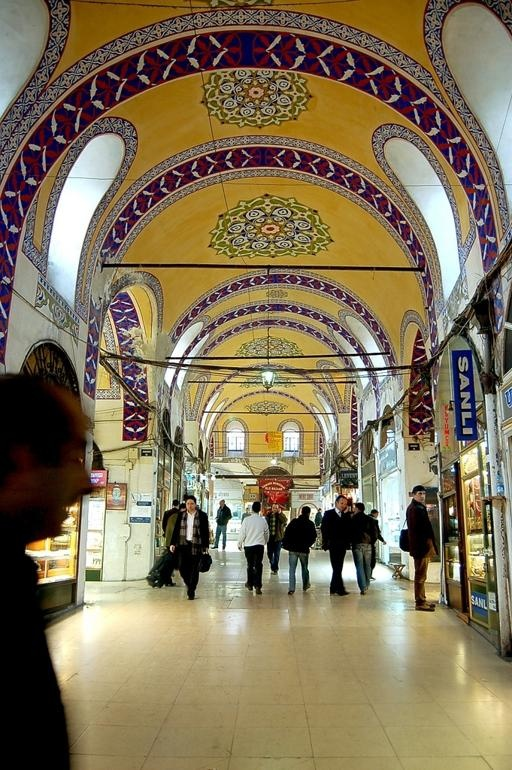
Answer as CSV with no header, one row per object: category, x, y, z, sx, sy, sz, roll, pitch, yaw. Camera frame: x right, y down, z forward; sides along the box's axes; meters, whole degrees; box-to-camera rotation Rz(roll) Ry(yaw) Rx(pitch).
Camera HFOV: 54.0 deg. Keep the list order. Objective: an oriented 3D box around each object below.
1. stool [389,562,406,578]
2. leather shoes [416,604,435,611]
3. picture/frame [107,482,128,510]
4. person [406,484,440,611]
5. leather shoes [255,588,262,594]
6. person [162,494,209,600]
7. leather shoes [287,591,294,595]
stool,3.518,4.633,12.569,0.289,0.347,0.438,-3,-14,15
leather shoes,2.822,3.703,8.391,0.336,0.150,0.120,-1,-7,1
picture/frame,-3.438,2.745,12.372,0.620,0.918,0.087,-1,-28,-4
person,2.791,2.744,8.554,0.429,2.030,0.607,-4,-14,17
leather shoes,0.037,3.964,9.718,0.105,0.095,0.148,3,-11,-4
person,-1.228,2.977,9.274,0.693,1.807,0.905,3,-13,-10
leather shoes,0.652,4.014,9.731,0.115,0.071,0.120,-3,-7,6
